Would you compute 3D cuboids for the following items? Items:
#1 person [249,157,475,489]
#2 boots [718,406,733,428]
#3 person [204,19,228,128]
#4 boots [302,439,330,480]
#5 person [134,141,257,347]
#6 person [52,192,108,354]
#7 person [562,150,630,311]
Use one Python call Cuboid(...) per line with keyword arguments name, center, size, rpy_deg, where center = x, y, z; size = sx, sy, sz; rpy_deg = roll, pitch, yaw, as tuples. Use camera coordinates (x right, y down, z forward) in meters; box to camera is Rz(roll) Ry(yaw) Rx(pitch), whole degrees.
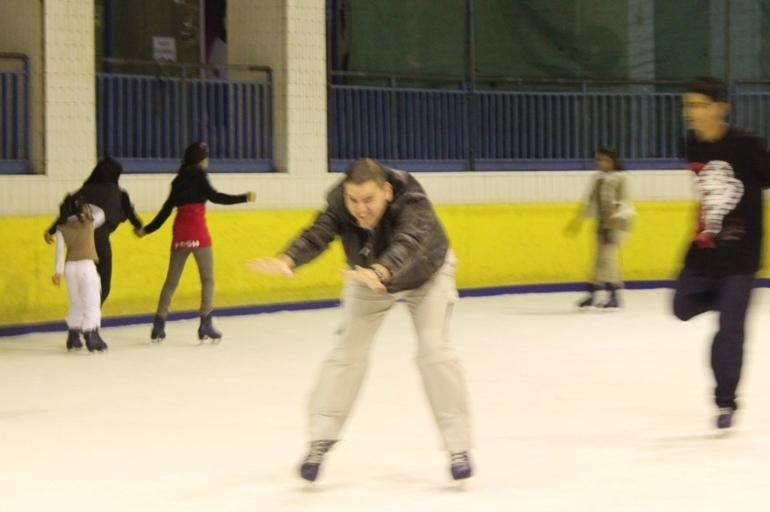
Cuboid(name="person", center=(-0.036, 0.462, 6.440), size=(1.288, 2.273, 0.749), rpy_deg=(0, 9, 5))
Cuboid(name="boots", center=(2.753, 1.303, 7.476), size=(0.114, 0.045, 0.191), rpy_deg=(-9, 24, 26))
Cuboid(name="person", center=(-2.597, -2.631, 14.226), size=(0.127, 1.591, 0.405), rpy_deg=(-3, -5, -41))
Cuboid(name="boots", center=(-0.499, 1.425, 6.496), size=(0.205, 0.282, 0.077), rpy_deg=(4, 12, -11))
Cuboid(name="person", center=(-2.319, -0.153, 11.106), size=(1.150, 2.381, 0.310), rpy_deg=(1, 9, 10))
Cuboid(name="person", center=(-3.477, 0.191, 10.504), size=(0.574, 1.813, 0.576), rpy_deg=(-4, 9, -17))
Cuboid(name="person", center=(3.184, -0.386, 13.293), size=(0.727, 2.330, 0.562), rpy_deg=(1, 9, 11))
